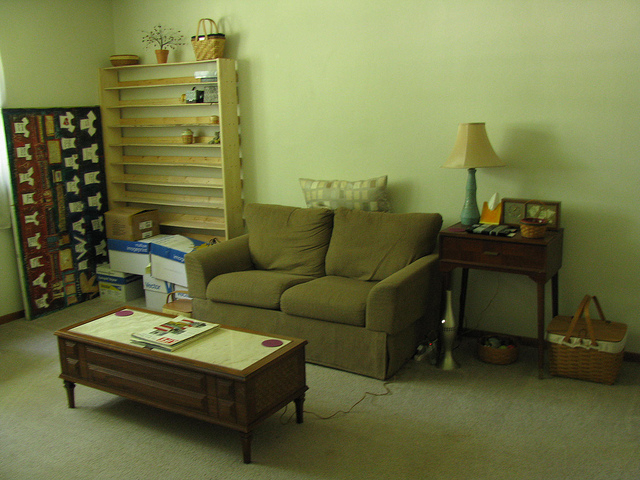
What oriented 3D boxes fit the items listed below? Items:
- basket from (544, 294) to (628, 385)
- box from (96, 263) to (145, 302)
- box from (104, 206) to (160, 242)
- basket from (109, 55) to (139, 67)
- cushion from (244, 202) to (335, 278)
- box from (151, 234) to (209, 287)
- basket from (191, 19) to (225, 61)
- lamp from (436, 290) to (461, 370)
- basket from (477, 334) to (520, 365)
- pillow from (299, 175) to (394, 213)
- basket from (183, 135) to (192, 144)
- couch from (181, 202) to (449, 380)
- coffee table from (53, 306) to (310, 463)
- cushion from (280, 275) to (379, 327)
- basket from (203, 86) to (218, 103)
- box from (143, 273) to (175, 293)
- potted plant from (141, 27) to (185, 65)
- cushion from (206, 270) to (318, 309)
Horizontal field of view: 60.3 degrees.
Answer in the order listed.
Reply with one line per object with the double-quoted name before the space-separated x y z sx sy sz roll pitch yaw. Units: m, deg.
"basket" 1.881 0.702 3.946 0.555 0.427 0.391 2 16 29
"box" -2.035 0.416 5.705 0.485 0.263 0.440 4 11 19
"box" -1.919 -0.183 5.726 0.499 0.253 0.420 3 8 23
"basket" -2.013 -1.837 5.654 0.191 0.057 0.184 5 10 37
"cushion" -0.253 0.034 4.991 0.441 0.632 1.174 7 2 -37
"box" -1.363 0.177 5.325 0.602 0.274 0.556 7 15 25
"basket" -1.073 -1.907 5.240 0.254 0.404 0.423 -12 18 -35
"lamp" 0.962 0.662 4.123 0.178 0.586 0.248 3 17 12
"basket" 1.358 0.837 4.252 0.303 0.155 0.294 4 14 20
"pillow" 0.179 -0.411 4.788 0.820 0.301 0.254 8 17 33
"basket" -1.309 -0.995 5.444 0.087 0.085 0.047 -3 16 -9
"couch" -0.016 0.297 4.581 2.098 0.951 1.165 9 26 41
"coffee table" -0.946 0.852 3.719 1.752 0.458 0.609 5 18 31
"cushion" 0.109 0.429 4.166 0.497 0.126 0.432 3 8 28
"basket" -1.027 -1.382 5.226 0.189 0.154 0.082 10 19 37
"box" -1.567 0.418 5.369 0.272 0.118 0.233 6 6 13
"potted plant" -1.605 -1.970 5.573 0.480 0.299 0.392 -1 11 -7
"cushion" -0.548 0.370 4.441 0.522 0.131 0.427 2 5 20
